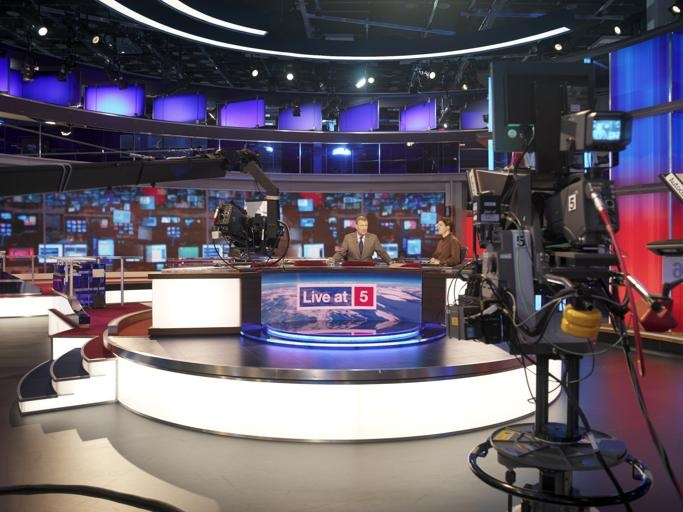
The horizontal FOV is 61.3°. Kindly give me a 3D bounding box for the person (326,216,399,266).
[{"bbox_3d":[0.257,-0.196,7.497,0.686,0.669,0.917,1,13,4],"label":"person"}]
